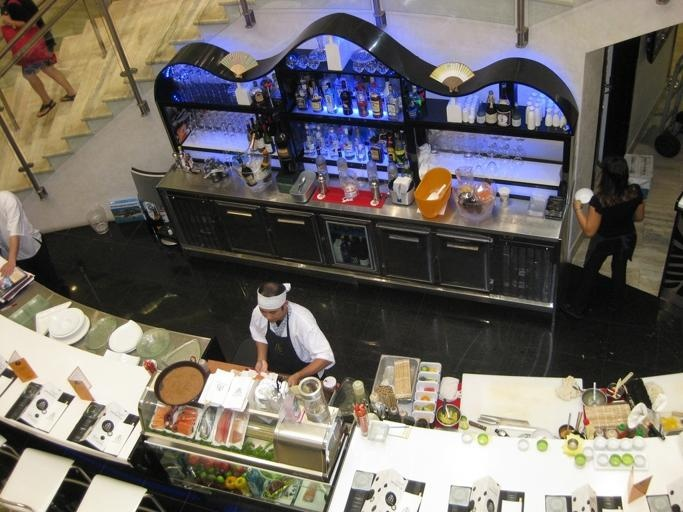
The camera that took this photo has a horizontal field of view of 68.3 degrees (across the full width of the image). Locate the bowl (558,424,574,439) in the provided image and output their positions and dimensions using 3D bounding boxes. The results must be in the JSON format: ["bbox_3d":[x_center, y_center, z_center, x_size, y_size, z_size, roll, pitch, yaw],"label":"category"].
[{"bbox_3d":[1.613,1.273,3.622,0.112,0.133,0.054,3,-44,7],"label":"bowl"}]

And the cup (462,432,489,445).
[{"bbox_3d":[0.904,1.243,3.399,0.142,0.083,0.037,4,-52,12],"label":"cup"}]

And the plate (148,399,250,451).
[{"bbox_3d":[-0.932,1.131,3.316,0.551,0.281,0.131,6,-9,12],"label":"plate"}]

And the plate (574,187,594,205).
[{"bbox_3d":[2.359,-0.554,4.941,0.185,0.195,0.127,-3,-58,30],"label":"plate"}]

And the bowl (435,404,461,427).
[{"bbox_3d":[0.822,1.238,3.888,0.182,0.185,0.076,-5,-36,33],"label":"bowl"}]

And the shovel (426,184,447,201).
[{"bbox_3d":[0.969,-0.608,5.168,0.093,0.340,0.051,19,-47,19],"label":"shovel"}]

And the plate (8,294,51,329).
[{"bbox_3d":[-3.024,0.528,4.917,0.279,0.275,0.077,30,-38,22],"label":"plate"}]

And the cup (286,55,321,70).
[{"bbox_3d":[-0.390,-2.029,5.343,0.379,0.135,0.169,5,-7,12],"label":"cup"}]

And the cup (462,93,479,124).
[{"bbox_3d":[1.268,-1.413,4.957,0.119,0.358,0.125,14,-28,8],"label":"cup"}]

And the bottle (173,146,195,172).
[{"bbox_3d":[-1.943,-1.157,6.357,0.284,0.244,0.292,6,-32,-1],"label":"bottle"}]

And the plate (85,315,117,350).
[{"bbox_3d":[-2.215,0.725,4.661,0.175,0.301,0.041,22,-33,11],"label":"plate"}]

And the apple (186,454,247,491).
[{"bbox_3d":[-0.852,1.510,3.476,0.436,0.137,0.252,14,-55,13],"label":"apple"}]

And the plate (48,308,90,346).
[{"bbox_3d":[-2.534,0.654,4.676,0.380,0.337,0.109,10,-30,12],"label":"plate"}]

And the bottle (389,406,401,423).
[{"bbox_3d":[0.399,1.197,3.762,0.090,0.092,0.152,-6,-58,9],"label":"bottle"}]

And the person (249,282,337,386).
[{"bbox_3d":[-0.435,0.759,4.595,0.574,0.558,0.999,18,-23,12],"label":"person"}]

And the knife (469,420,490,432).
[{"bbox_3d":[1.016,1.257,3.735,0.112,0.060,0.020,18,-58,31],"label":"knife"}]
